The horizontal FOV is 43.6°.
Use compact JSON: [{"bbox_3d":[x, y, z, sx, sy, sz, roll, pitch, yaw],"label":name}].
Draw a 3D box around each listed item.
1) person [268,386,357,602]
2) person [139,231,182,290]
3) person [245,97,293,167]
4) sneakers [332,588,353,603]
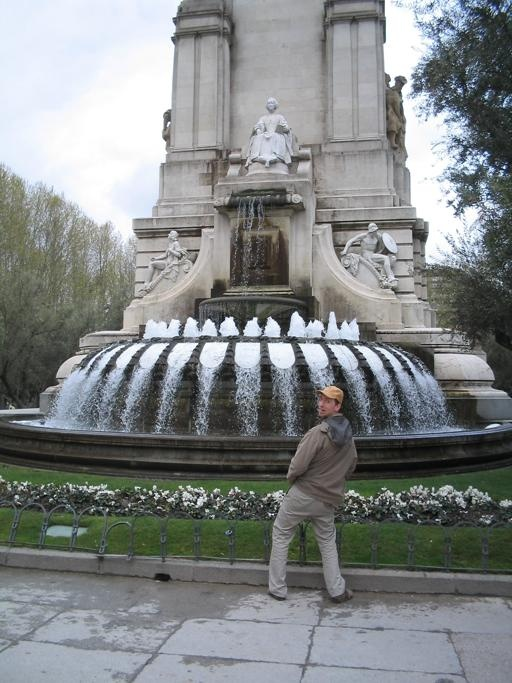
[{"bbox_3d":[0.379,1.005,4.321,0.582,1.427,0.408,-1,0,8],"label":"person"},{"bbox_3d":[-2.803,-2.536,19.653,1.298,1.930,0.592,-1,0,-2],"label":"person"},{"bbox_3d":[0.399,-6.126,18.255,1.264,2.055,1.080,2,2,11],"label":"person"},{"bbox_3d":[0.569,1.667,4.208,0.055,0.068,0.163,3,6,29],"label":"sneakers"}]
